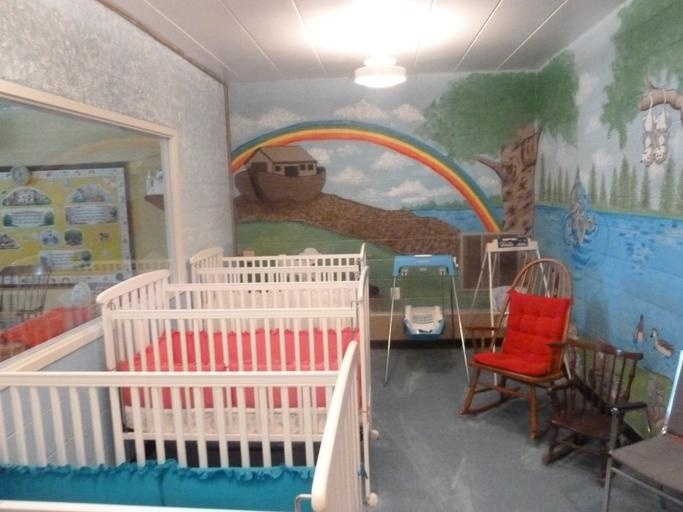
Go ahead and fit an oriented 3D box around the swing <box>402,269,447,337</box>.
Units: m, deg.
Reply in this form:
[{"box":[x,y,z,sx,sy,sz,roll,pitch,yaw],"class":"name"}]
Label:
[{"box":[0.782,0.568,5.047,0.422,0.145,0.585,-1,21,3],"class":"swing"}]
